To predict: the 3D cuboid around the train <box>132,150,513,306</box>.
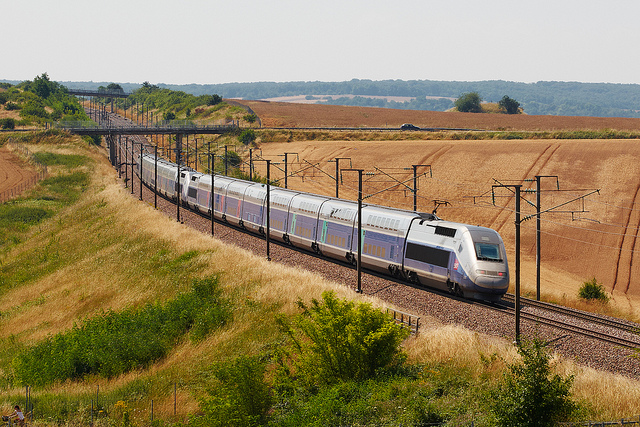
[{"bbox_3d":[-0.104,1.410,102.956,45.971,4.387,2.533,14,2,35],"label":"train"}]
